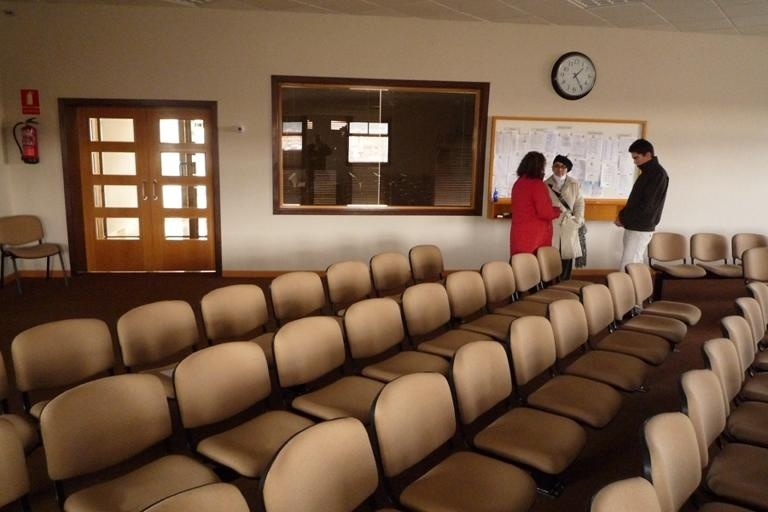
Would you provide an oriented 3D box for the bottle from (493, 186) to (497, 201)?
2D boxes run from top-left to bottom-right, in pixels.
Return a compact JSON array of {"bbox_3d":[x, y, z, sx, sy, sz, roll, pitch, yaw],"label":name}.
[{"bbox_3d":[1.699,-0.927,8.197,0.083,0.175,0.144,3,10,12],"label":"bottle"}]

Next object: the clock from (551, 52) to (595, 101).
[{"bbox_3d":[2.876,-2.688,8.113,0.714,0.689,0.102,-1,10,-11],"label":"clock"}]

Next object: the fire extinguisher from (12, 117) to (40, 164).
[{"bbox_3d":[-5.194,-1.645,7.725,0.359,0.673,0.157,1,10,2],"label":"fire extinguisher"}]
